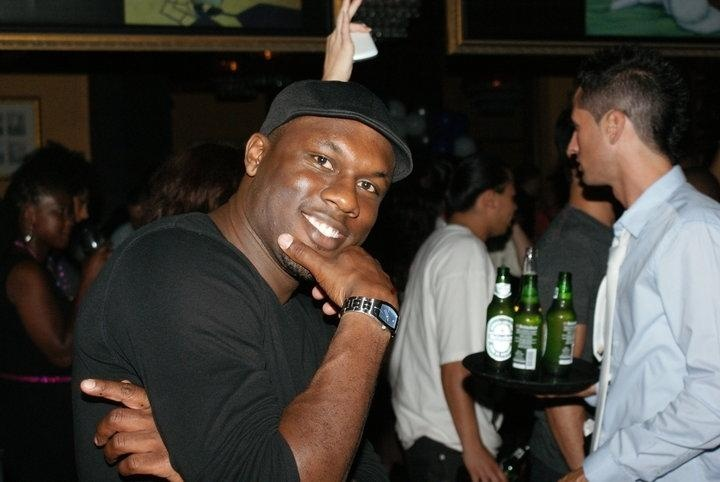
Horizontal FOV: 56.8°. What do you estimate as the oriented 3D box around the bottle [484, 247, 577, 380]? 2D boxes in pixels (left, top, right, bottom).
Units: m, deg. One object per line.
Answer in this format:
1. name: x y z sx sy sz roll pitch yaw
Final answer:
1. bottle: 0.872 0.344 3.336 0.471 0.603 0.415 1 5 2
